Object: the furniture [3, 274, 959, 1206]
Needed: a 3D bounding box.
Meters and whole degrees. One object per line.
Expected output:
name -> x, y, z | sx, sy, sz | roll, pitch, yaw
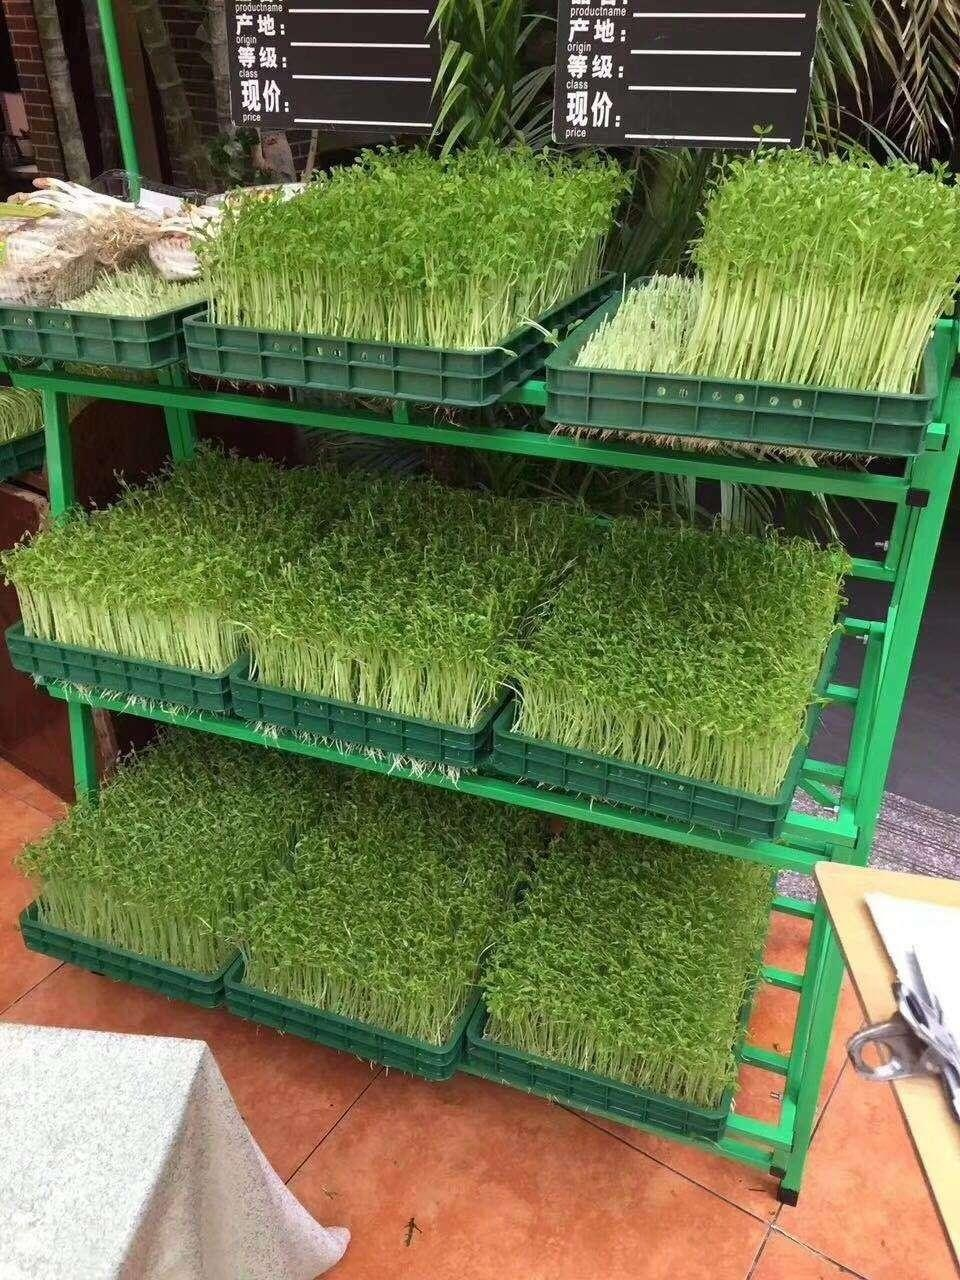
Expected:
furniture -> -0.048, 0.268, 2.271 | 2.195, 1.973, 0.720 | 18, 48, 21
